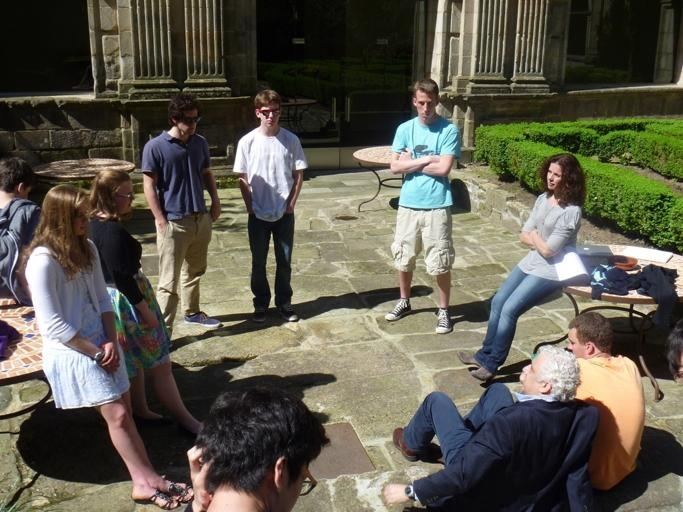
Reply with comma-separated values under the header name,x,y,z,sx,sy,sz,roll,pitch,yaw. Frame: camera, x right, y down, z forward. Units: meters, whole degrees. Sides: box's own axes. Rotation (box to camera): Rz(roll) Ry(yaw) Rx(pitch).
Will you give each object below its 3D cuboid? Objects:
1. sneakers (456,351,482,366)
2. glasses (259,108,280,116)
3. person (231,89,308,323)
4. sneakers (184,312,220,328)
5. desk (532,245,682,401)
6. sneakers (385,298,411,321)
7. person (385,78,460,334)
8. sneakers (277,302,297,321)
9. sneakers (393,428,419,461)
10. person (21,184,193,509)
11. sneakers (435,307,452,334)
name,x,y,z,sx,sy,sz,roll,pitch,yaw
sneakers,1.181,0.957,5.006,0.106,0.078,0.199,5,1,-28
glasses,-0.752,-1.495,5.564,0.202,0.074,0.097,-5,17,-12
person,-0.752,-0.525,5.823,0.754,2.441,0.629,-3,17,-5
sneakers,-1.497,0.680,5.803,0.372,0.145,0.157,7,13,1
desk,2.673,0.701,5.291,1.480,1.029,1.435,11,25,34
sneakers,0.637,0.597,5.962,0.140,0.185,0.419,18,21,41
person,0.883,-0.530,5.734,0.835,2.567,0.739,9,20,30
sneakers,-0.596,0.608,6.011,0.111,0.126,0.325,-14,22,-27
sneakers,0.463,1.380,3.973,0.108,0.111,0.261,-4,22,-13
person,-1.482,0.595,3.279,0.702,2.018,0.488,-4,18,-8
sneakers,1.081,0.705,5.706,0.117,0.138,0.340,1,6,13
